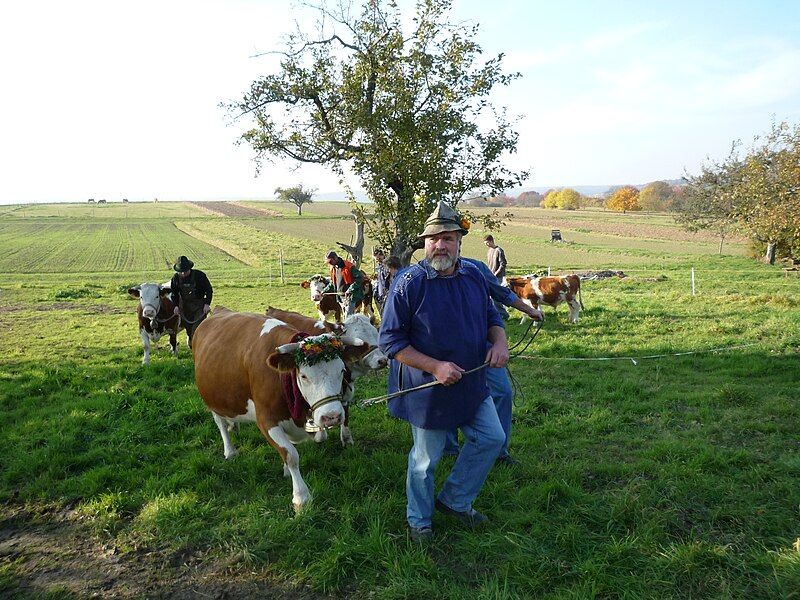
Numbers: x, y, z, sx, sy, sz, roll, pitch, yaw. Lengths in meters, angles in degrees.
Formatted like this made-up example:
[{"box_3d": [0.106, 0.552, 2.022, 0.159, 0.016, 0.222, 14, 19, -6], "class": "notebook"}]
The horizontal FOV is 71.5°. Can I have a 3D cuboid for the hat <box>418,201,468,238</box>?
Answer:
[{"box_3d": [0.466, -0.843, 5.768, 0.361, 0.376, 0.718, 1, 14, 13], "class": "hat"}]

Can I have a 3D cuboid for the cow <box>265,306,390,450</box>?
[{"box_3d": [-0.749, 0.851, 7.431, 1.132, 1.435, 2.254, -1, 0, -42], "class": "cow"}]

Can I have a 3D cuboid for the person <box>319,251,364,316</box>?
[{"box_3d": [-1.340, -0.258, 13.323, 0.973, 1.793, 0.827, 1, 11, 30], "class": "person"}]

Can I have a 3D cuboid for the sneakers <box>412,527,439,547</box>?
[{"box_3d": [0.259, 2.426, 5.706, 0.187, 0.207, 0.120, -2, -2, 33], "class": "sneakers"}]

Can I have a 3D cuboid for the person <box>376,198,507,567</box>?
[{"box_3d": [0.443, 0.726, 5.669, 1.266, 3.372, 0.791, -3, 13, -4], "class": "person"}]

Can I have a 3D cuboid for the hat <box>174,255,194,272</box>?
[{"box_3d": [-4.463, -0.736, 11.452, 0.297, 0.367, 0.445, -3, 14, -6], "class": "hat"}]

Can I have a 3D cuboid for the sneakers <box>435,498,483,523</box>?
[{"box_3d": [0.635, 2.271, 6.078, 0.511, 0.241, 0.184, 2, 9, 15], "class": "sneakers"}]

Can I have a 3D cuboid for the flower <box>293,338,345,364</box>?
[{"box_3d": [-0.874, 0.551, 6.091, 0.331, 0.156, 0.334, -7, -4, -30], "class": "flower"}]

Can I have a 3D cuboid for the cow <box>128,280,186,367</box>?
[{"box_3d": [-5.559, 0.661, 13.055, 0.791, 1.727, 2.829, -3, -5, -14], "class": "cow"}]
